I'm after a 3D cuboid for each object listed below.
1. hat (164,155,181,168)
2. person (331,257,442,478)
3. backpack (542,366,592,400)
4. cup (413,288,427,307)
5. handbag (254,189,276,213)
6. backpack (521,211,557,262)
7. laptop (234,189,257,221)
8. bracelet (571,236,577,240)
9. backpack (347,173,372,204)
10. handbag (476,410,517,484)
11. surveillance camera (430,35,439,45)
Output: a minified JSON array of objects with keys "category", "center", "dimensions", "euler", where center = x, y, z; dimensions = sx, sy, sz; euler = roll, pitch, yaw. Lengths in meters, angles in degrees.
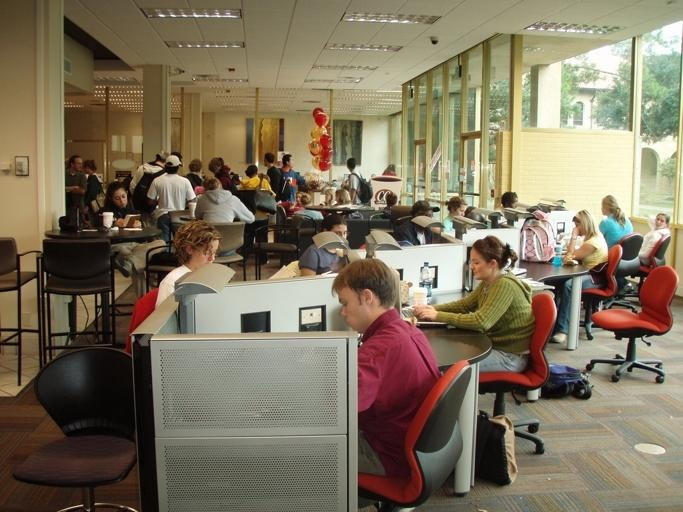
[{"category":"hat","center":[-2.160,-1.217,7.335],"dimensions":[0.184,0.139,0.269],"euler":[7,24,11]},{"category":"person","center":[0.191,0.474,2.286],"dimensions":[0.434,0.873,0.510],"euler":[0,14,-2]},{"category":"backpack","center":[1.760,0.964,4.361],"dimensions":[0.441,0.188,0.518],"euler":[-1,-3,23]},{"category":"cup","center":[0.525,0.262,3.629],"dimensions":[0.108,0.098,0.102],"euler":[0,3,0]},{"category":"handbag","center":[-1.212,-0.867,8.971],"dimensions":[0.460,0.384,0.158],"euler":[1,8,-17]},{"category":"backpack","center":[1.843,-0.159,5.278],"dimensions":[0.347,0.426,0.469],"euler":[-1,6,18]},{"category":"laptop","center":[-1.491,-0.807,9.004],"dimensions":[0.150,0.497,0.533],"euler":[-5,22,-43]},{"category":"bracelet","center":[2.298,-0.186,5.555],"dimensions":[0.057,0.036,0.057],"euler":[4,6,35]},{"category":"backpack","center":[0.449,-1.494,12.593],"dimensions":[0.787,0.690,0.483],"euler":[-4,24,-5]},{"category":"handbag","center":[0.924,1.115,3.322],"dimensions":[0.250,0.340,0.220],"euler":[5,14,17]},{"category":"surveillance camera","center":[1.411,-3.199,8.429],"dimensions":[0.110,0.087,0.108],"euler":[-1,6,-3]}]
